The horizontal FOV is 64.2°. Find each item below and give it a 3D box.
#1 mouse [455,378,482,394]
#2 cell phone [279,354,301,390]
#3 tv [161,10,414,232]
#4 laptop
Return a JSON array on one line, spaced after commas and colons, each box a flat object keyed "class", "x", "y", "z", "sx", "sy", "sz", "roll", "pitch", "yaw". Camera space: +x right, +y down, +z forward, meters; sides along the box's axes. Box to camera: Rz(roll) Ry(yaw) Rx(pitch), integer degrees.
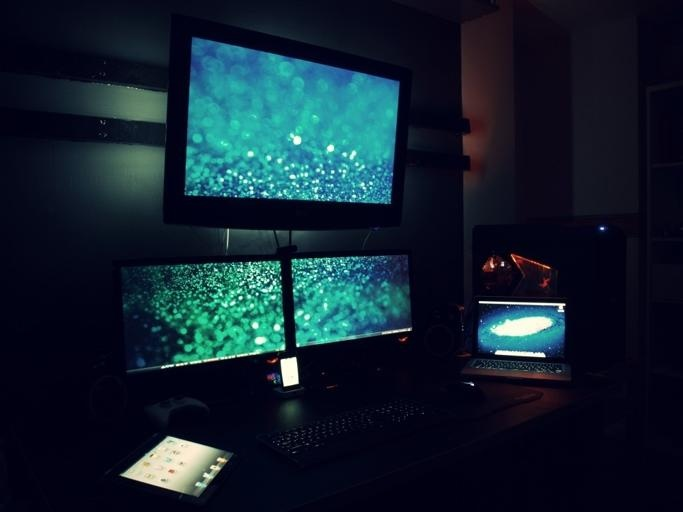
[{"class": "mouse", "x": 0.511, "y": 0.524, "z": 2.192, "sx": 0.060, "sy": 0.025, "sz": 0.068, "roll": 5, "pitch": 4, "yaw": -27}, {"class": "cell phone", "x": -0.220, "y": 0.489, "z": 2.271, "sx": 0.123, "sy": 0.172, "sz": 0.017, "roll": 8, "pitch": -20, "yaw": -38}, {"class": "tv", "x": -0.260, "y": -0.555, "z": 2.323, "sx": 1.078, "sy": 0.779, "sz": 0.115, "roll": 2, "pitch": 9, "yaw": -31}, {"class": "laptop", "x": 0.804, "y": 0.370, "z": 2.463, "sx": 0.447, "sy": 0.282, "sz": 0.331, "roll": 4, "pitch": 15, "yaw": 20}]
